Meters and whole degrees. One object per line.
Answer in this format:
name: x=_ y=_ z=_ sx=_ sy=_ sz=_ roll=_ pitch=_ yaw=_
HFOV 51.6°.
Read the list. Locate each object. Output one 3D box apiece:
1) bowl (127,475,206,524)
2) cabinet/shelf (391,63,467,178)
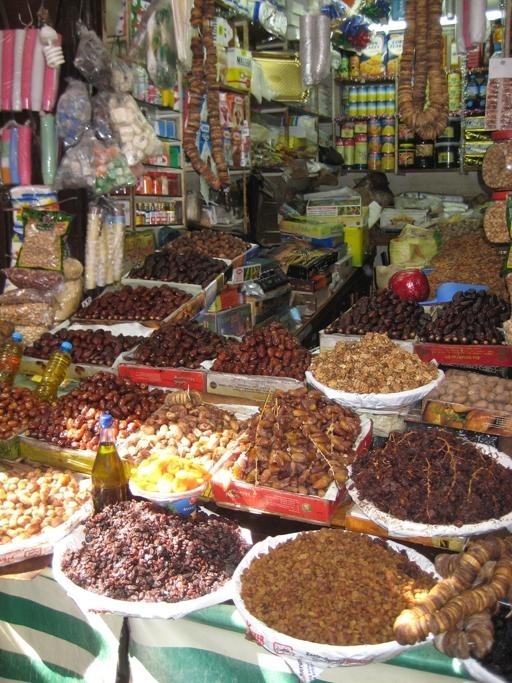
bowl: x=-0.227 y=0.374 z=1.315 sx=0.113 sy=0.080 sz=0.111 roll=0 pitch=12 yaw=0
cabinet/shelf: x=2.062 y=-2.734 z=6.307 sx=0.766 sy=1.362 sz=1.469 roll=4 pitch=9 yaw=17
